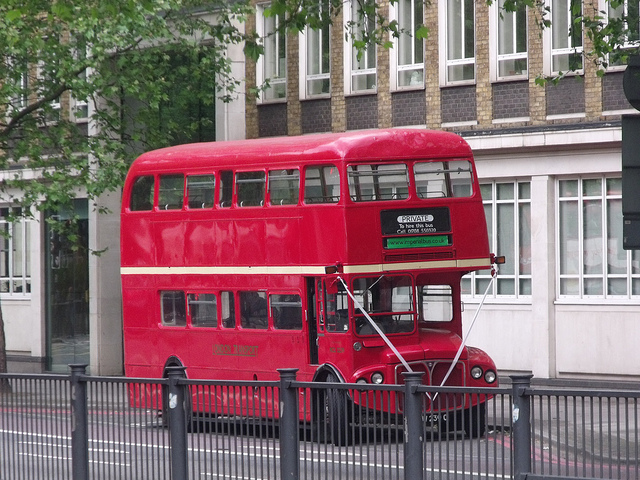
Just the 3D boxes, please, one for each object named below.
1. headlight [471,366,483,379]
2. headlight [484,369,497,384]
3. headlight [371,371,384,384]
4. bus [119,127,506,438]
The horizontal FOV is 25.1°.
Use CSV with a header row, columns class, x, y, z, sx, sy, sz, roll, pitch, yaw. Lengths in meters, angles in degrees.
class,x,y,z,sx,sy,sz,roll,pitch,yaw
headlight,2.801,2.382,25.961,0.206,0.228,0.077,3,-5,-7
headlight,3.053,2.455,26.020,0.205,0.224,0.108,-17,2,-8
headlight,0.996,2.425,25.465,0.188,0.205,0.068,6,-7,-30
bus,-0.740,0.813,28.217,3.284,5.591,8.149,-6,4,-40
